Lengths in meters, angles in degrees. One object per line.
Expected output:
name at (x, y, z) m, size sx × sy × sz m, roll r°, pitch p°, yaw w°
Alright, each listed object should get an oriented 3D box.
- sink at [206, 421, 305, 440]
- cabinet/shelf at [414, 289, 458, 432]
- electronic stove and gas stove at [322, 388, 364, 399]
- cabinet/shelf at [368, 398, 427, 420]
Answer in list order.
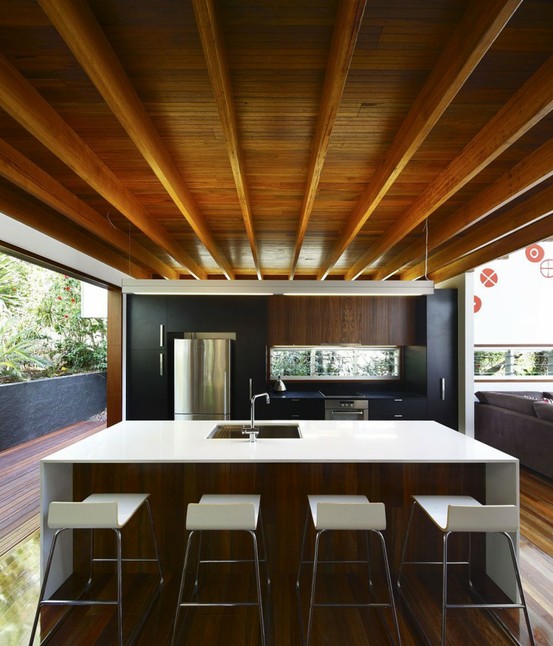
sink at (-0.149, 0.778, 3.329) m, size 0.624 × 0.116 × 0.414 m, roll 0°, pitch -3°, yaw 1°
cabinet/shelf at (1.967, 0.423, 5.545) m, size 0.418 × 1.659 × 0.189 m, roll 0°, pitch -2°, yaw 12°
electronic stove and gas stove at (0.847, 0.881, 5.857) m, size 0.536 × 0.067 × 0.814 m, roll 0°, pitch -3°, yaw 3°
cabinet/shelf at (1.444, 0.998, 5.486) m, size 0.680 × 0.259 × 0.097 m, roll 0°, pitch -2°, yaw -8°
